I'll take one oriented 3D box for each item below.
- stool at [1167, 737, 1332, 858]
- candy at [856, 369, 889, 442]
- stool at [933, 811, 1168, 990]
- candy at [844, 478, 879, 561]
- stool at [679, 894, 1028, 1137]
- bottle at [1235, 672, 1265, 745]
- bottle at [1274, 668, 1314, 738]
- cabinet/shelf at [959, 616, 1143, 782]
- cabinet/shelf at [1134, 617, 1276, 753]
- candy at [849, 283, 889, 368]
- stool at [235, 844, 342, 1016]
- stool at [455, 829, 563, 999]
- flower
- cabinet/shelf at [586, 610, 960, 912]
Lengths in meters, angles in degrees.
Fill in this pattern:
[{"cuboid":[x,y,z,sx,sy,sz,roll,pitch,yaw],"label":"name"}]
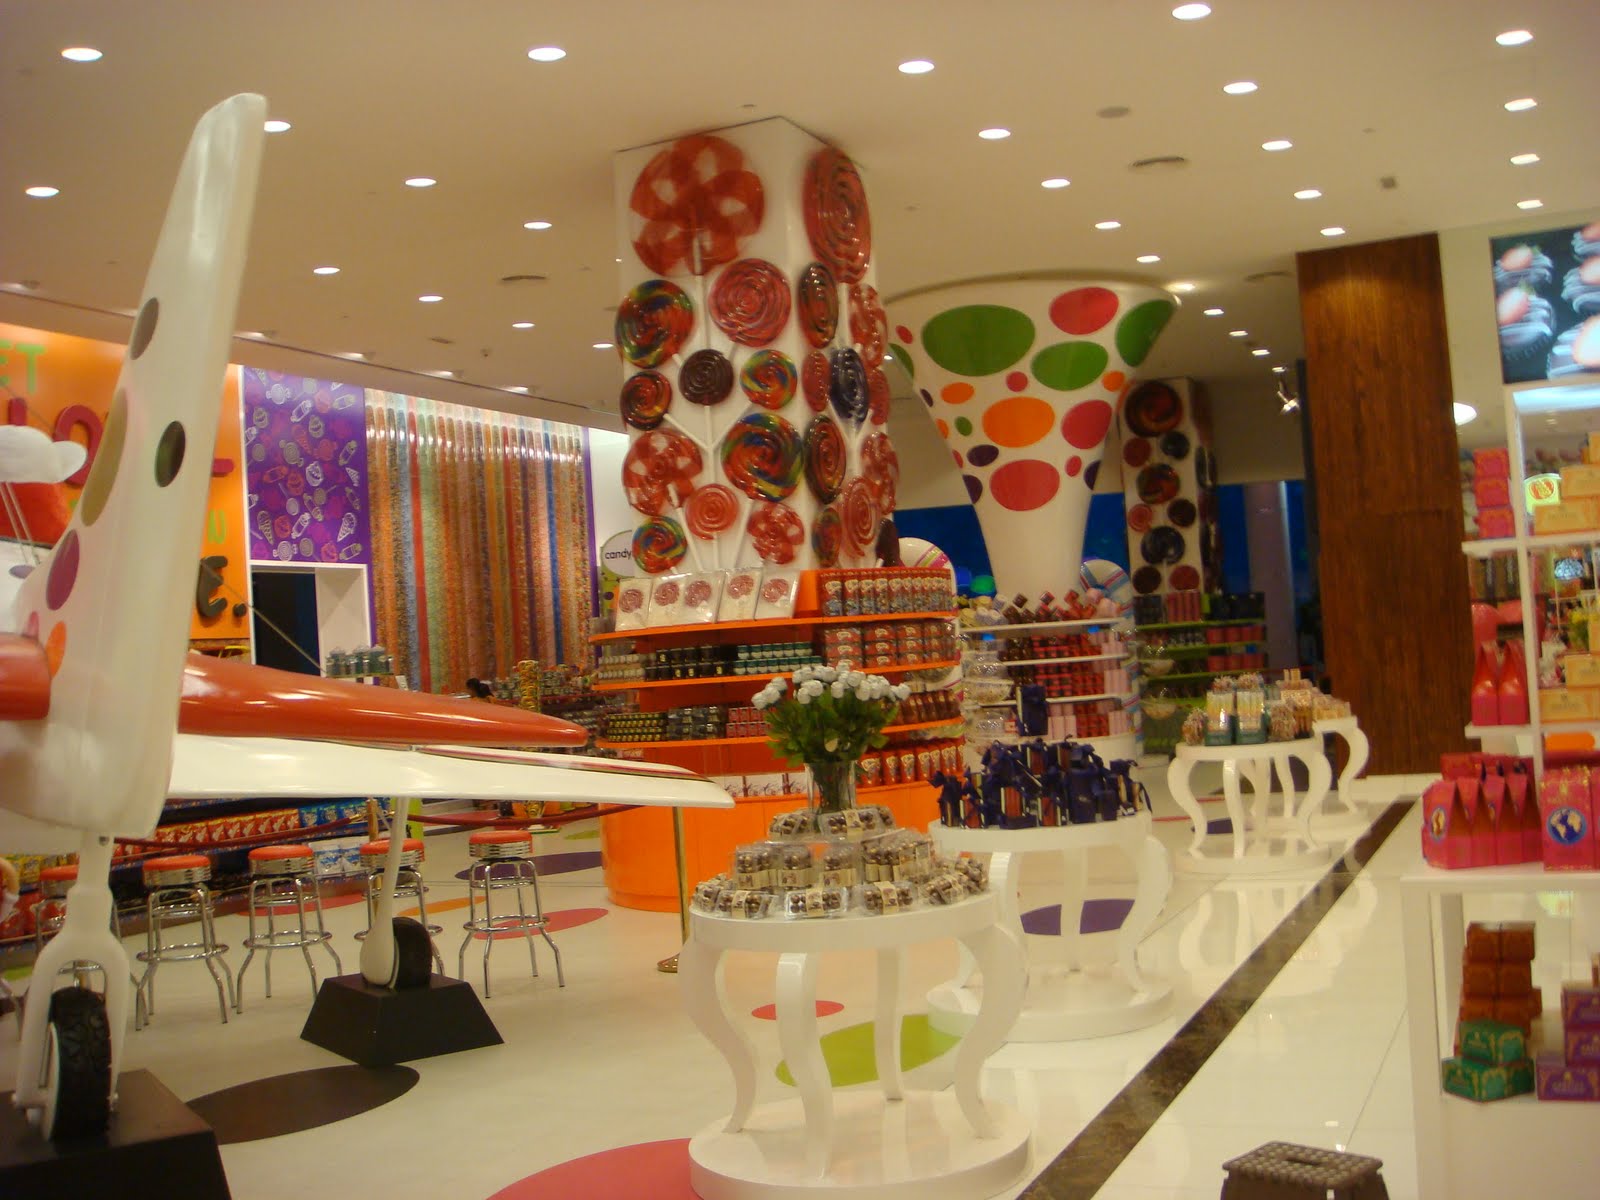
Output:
[{"cuboid":[2.886,1.254,7.392,0.881,0.695,1.039,-4,-6,-8],"label":"stool"},{"cuboid":[0.522,-1.363,7.871,0.123,0.366,0.363,4,-25,11],"label":"candy"},{"cuboid":[1.115,1.326,4.933,1.002,0.782,1.022,5,-12,-35],"label":"stool"},{"cuboid":[0.397,-0.520,7.598,0.149,0.430,0.415,-5,-20,18],"label":"candy"},{"cuboid":[0.074,1.281,3.578,1.031,0.798,1.003,-1,-13,-2],"label":"stool"},{"cuboid":[2.742,0.648,6.968,0.179,0.396,0.332,-5,-6,23],"label":"bottle"},{"cuboid":[3.192,0.658,7.434,0.231,0.431,1.200,-5,-6,23],"label":"bottle"},{"cuboid":[3.253,1.164,13.015,1.692,1.814,1.778,-8,3,18],"label":"cabinet/shelf"},{"cuboid":[4.033,0.833,11.709,1.455,1.517,0.481,-1,-8,-4],"label":"cabinet/shelf"},{"cuboid":[0.438,-1.899,7.840,0.168,0.498,0.417,-9,-5,29],"label":"candy"},{"cuboid":[-2.767,1.739,6.191,0.531,0.805,0.519,-1,-7,-25],"label":"stool"},{"cuboid":[-1.543,1.624,6.024,0.484,0.797,0.493,-11,-10,42],"label":"stool"},{"cuboid":[0.093,0.438,3.832,0.439,0.496,0.437,-1,-4,-14],"label":"flower"},{"cuboid":[-0.166,0.861,7.846,3.041,2.302,1.735,-2,-4,-1],"label":"cabinet/shelf"}]
